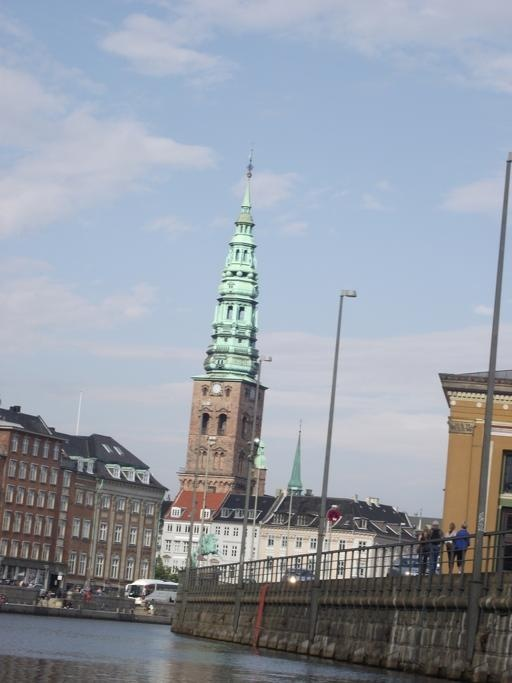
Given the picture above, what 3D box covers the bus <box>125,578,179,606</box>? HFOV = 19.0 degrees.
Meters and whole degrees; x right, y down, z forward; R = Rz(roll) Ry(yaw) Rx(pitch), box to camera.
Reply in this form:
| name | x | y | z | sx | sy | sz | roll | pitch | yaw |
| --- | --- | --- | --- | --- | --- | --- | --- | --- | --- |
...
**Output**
| name | x | y | z | sx | sy | sz | roll | pitch | yaw |
| --- | --- | --- | --- | --- | --- | --- | --- | --- | --- |
| bus | -8.676 | 20.956 | 126.807 | 3.944 | 1.763 | 15.530 | -12 | -5 | -6 |
